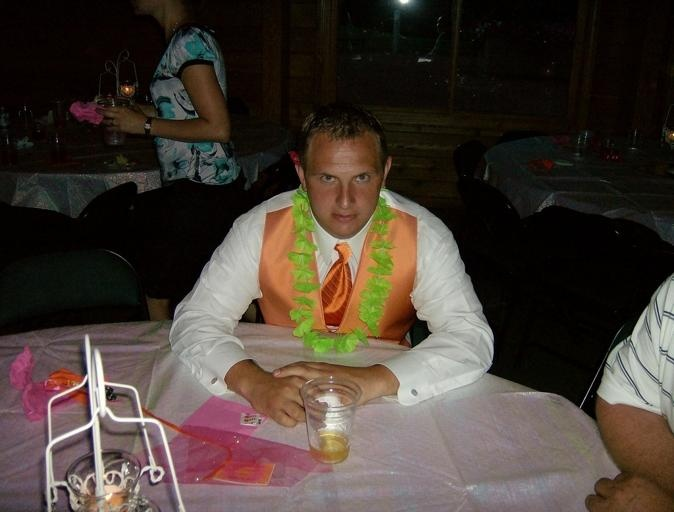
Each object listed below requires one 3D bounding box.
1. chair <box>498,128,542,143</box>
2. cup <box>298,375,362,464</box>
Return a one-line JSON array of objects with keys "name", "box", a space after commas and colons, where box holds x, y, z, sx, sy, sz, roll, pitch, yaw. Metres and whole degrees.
[{"name": "chair", "box": [1.569, -1.047, 4.269, 0.224, 0.100, 0.311, -5, 15, 6]}, {"name": "cup", "box": [-0.045, 0.371, 1.159, 0.154, 0.165, 0.148, 0, 3, 0]}]
